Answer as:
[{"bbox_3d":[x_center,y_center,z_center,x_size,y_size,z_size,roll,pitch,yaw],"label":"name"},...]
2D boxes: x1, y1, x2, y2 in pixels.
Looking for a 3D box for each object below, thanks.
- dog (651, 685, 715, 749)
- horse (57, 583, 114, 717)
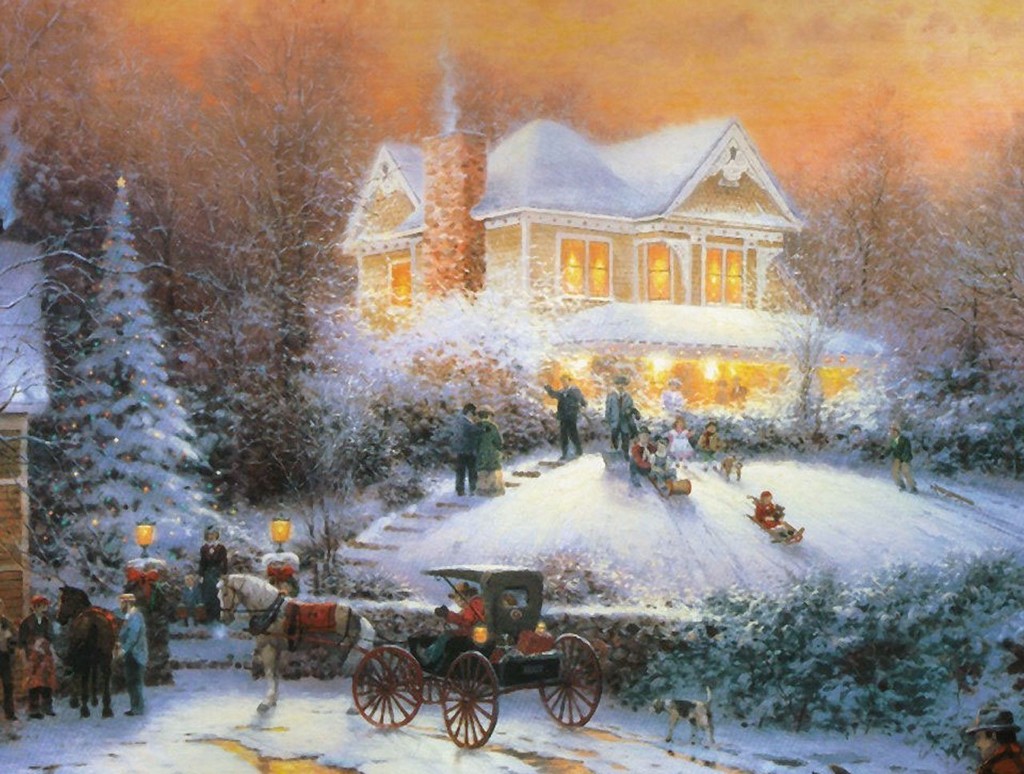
[{"bbox_3d":[4.128,7.878,30.308,1.394,1.190,1.157,-2,-3,10],"label":"dog"},{"bbox_3d":[-10.291,6.374,30.826,1.092,2.987,3.621,0,-1,-29],"label":"horse"}]
